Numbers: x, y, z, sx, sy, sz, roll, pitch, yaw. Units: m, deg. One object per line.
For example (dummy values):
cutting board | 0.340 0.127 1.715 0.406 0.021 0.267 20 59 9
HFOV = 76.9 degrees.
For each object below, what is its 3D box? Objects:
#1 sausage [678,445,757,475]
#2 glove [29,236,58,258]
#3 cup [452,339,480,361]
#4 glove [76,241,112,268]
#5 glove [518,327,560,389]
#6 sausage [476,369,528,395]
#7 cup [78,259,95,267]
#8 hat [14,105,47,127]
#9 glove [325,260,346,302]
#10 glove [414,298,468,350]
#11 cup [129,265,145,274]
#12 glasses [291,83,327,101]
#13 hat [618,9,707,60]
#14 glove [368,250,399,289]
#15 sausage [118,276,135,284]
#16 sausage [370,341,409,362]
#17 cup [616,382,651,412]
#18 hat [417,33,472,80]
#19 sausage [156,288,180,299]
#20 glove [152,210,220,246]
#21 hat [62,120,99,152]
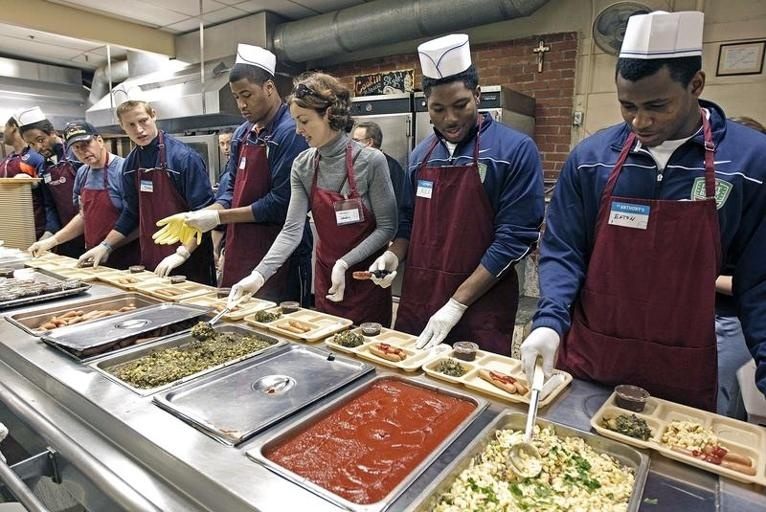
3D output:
sausage | 1.043 0.624 1.493 0.138 0.032 0.087 9 6 30
glove | -2.794 -0.065 3.952 0.112 0.128 0.228 23 26 8
cup | 0.350 0.393 2.013 0.094 0.051 0.127 4 19 28
glove | -2.076 -0.005 3.521 0.137 0.094 0.249 19 34 19
glove | 0.575 0.373 1.783 0.108 0.189 0.200 8 23 37
sausage | 0.459 0.459 1.819 0.072 0.040 0.132 -12 19 -41
cup | -2.117 0.058 3.435 0.092 0.046 0.079 -18 21 -34
hat | -3.286 -1.290 4.445 0.287 0.148 0.245 -12 4 36
glove | -0.243 0.139 2.579 0.066 0.197 0.148 6 10 -7
glove | 0.270 0.319 2.240 0.114 0.096 0.343 30 53 19
cup | -1.652 0.098 3.235 0.087 0.047 0.104 -16 19 -28
glasses | -0.403 -0.844 2.501 0.092 0.042 0.108 2 -9 28
hat | 0.935 -0.691 1.618 0.210 0.134 0.202 -6 11 -40
glove | -0.002 0.068 2.569 0.137 0.227 0.152 20 -7 6
sausage | -1.611 0.157 3.024 0.068 0.023 0.071 7 8 39
sausage | 0.027 0.400 2.007 0.071 0.038 0.124 -4 10 -36
cup | 0.881 0.501 1.699 0.093 0.067 0.083 7 22 36
hat | 0.304 -0.963 2.291 0.234 0.146 0.238 -2 33 29
sausage | -1.219 0.213 2.731 0.092 0.020 0.095 13 14 28
glove | -1.230 -0.172 3.033 0.393 0.253 0.167 -15 52 37
hat | -2.398 -0.946 3.842 0.207 0.161 0.296 -27 14 5
